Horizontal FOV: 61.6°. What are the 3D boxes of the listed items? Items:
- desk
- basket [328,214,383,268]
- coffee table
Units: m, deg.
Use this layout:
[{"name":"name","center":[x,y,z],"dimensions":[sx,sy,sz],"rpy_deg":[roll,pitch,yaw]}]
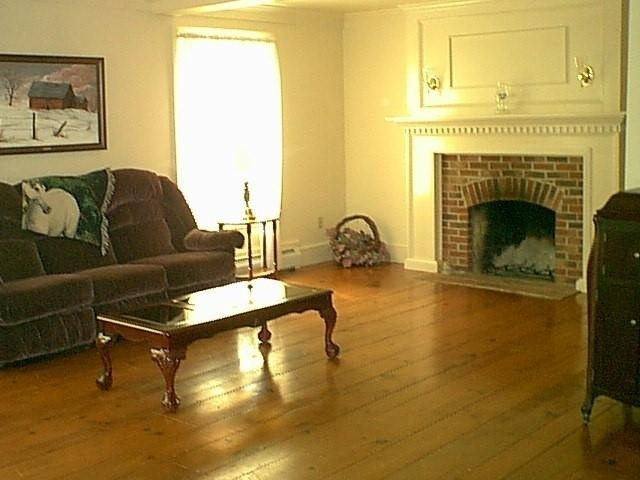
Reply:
[{"name":"desk","center":[-0.754,0.123,6.159],"dimensions":[0.574,0.616,0.577],"rpy_deg":[-1,1,39]},{"name":"basket","center":[0.459,0.000,6.927],"dimensions":[0.706,0.616,0.637],"rpy_deg":[-6,10,-22]},{"name":"coffee table","center":[-0.697,0.678,3.712],"dimensions":[1.473,0.519,0.722],"rpy_deg":[-9,12,-38]}]
